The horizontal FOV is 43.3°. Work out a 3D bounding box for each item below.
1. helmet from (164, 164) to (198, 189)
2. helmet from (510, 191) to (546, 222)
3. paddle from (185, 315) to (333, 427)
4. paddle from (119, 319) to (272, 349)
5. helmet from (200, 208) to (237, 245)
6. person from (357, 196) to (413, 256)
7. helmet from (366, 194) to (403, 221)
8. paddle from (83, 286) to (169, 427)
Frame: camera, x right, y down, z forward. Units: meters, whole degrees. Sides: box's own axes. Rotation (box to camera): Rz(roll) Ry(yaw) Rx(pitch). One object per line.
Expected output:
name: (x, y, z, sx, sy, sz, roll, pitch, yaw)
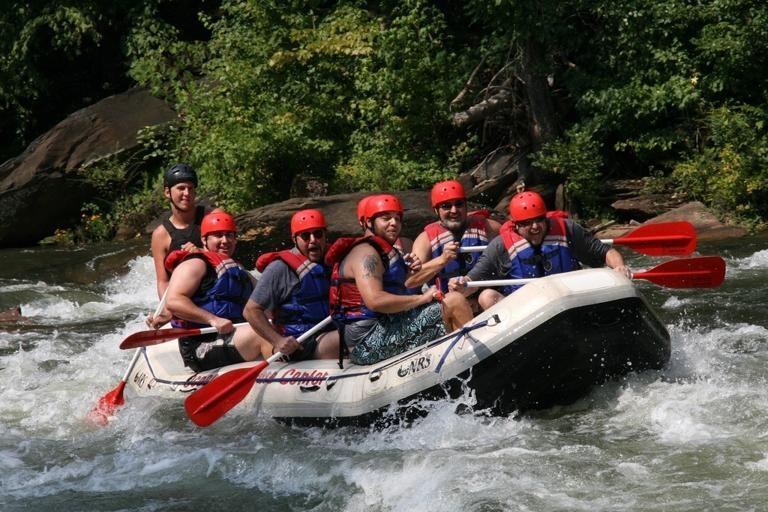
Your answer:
helmet: (-2.904, -1.173, 13.815, 0.309, 0.377, 0.398, 9, 14, -23)
helmet: (1.885, -0.659, 12.791, 0.460, 0.342, 0.332, -9, 25, 9)
paddle: (-1.548, 1.496, 12.606, 2.473, 0.504, 0.121, -32, 9, -6)
paddle: (-2.429, 1.031, 12.949, 2.151, 0.271, 0.118, -9, 6, 9)
helmet: (-2.301, -0.421, 13.380, 0.395, 0.389, 0.493, -6, 9, -17)
person: (0.058, -0.515, 12.729, 0.590, 0.718, 0.772, 3, -11, -23)
helmet: (-0.028, -0.632, 12.422, 0.387, 0.235, 0.304, 6, 10, 44)
paddle: (-3.803, 1.516, 14.262, 0.224, 1.913, 0.353, 13, -18, 36)
